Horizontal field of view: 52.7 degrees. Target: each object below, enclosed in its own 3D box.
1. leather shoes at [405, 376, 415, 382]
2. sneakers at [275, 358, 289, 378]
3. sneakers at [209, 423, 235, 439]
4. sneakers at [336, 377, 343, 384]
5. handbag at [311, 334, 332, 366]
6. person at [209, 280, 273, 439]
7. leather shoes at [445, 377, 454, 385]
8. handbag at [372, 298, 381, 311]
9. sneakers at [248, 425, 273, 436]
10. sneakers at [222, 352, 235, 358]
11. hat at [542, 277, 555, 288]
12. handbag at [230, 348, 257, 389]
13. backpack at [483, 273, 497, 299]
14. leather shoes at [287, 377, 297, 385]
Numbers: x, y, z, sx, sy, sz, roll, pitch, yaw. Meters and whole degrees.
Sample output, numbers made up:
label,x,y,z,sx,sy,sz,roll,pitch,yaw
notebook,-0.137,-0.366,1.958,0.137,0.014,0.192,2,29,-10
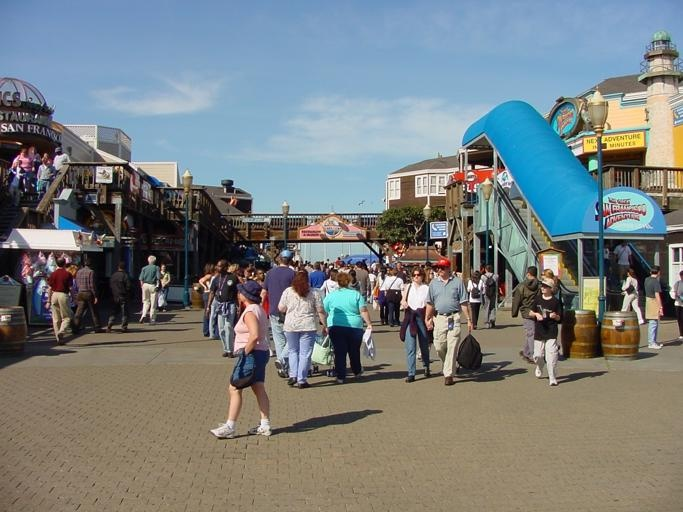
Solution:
label,x,y,z,sx,sy,sz,roll,pitch,yaw
leather shoes,1.258,2.223,12.558,0.171,0.121,0.330,1,5,5
sneakers,-1.116,2.109,12.925,0.131,0.464,0.181,-6,-5,6
sneakers,-1.601,2.344,9.267,0.335,0.187,0.168,5,3,-10
sneakers,-0.028,2.247,12.511,0.126,0.099,0.218,0,5,-9
handbag,-0.350,1.794,13.151,0.379,0.604,0.547,0,4,0
person,-1.316,1.443,9.342,0.811,2.014,0.607,-1,4,-18
leather shoes,1.928,2.217,12.333,0.167,0.150,0.280,1,5,9
handbag,1.320,1.799,25.821,0.211,0.291,0.771,3,3,-8
sneakers,-1.099,2.393,9.433,0.320,0.177,0.141,2,-8,8
sneakers,-2.430,2.130,14.834,0.148,0.091,0.132,0,-1,-20
hat,3.835,0.478,12.754,0.205,0.099,0.159,28,-13,-18
handbag,-1.292,1.512,9.136,0.322,0.507,0.201,0,4,2
backpack,4.302,0.885,20.016,0.499,0.863,0.442,1,-20,3
leather shoes,-0.874,2.217,12.235,0.180,0.142,0.085,2,-1,45
